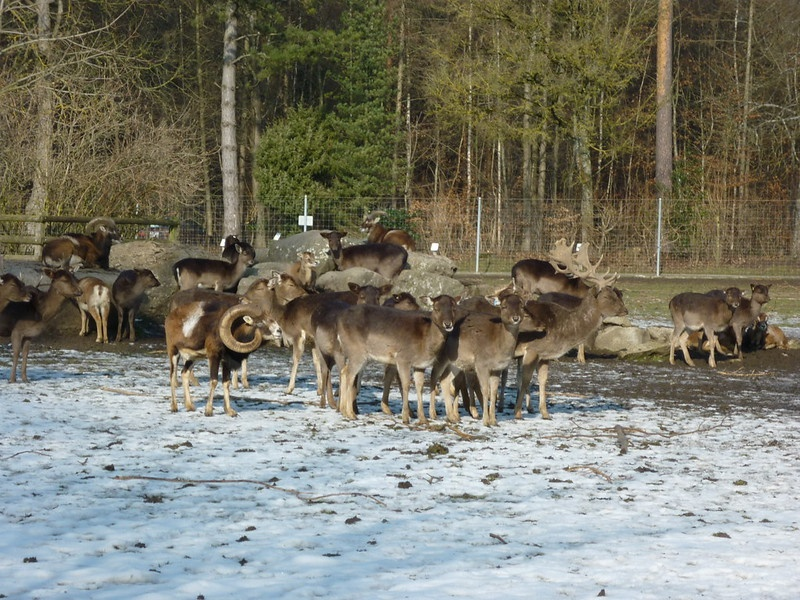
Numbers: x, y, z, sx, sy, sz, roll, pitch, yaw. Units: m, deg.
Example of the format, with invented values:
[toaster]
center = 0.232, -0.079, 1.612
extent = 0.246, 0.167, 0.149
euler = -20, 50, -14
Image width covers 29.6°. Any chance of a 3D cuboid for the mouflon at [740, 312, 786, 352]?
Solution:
[mouflon]
center = 8.967, 0.855, 37.188
extent = 0.700, 0.628, 1.095
euler = -2, -10, 15
